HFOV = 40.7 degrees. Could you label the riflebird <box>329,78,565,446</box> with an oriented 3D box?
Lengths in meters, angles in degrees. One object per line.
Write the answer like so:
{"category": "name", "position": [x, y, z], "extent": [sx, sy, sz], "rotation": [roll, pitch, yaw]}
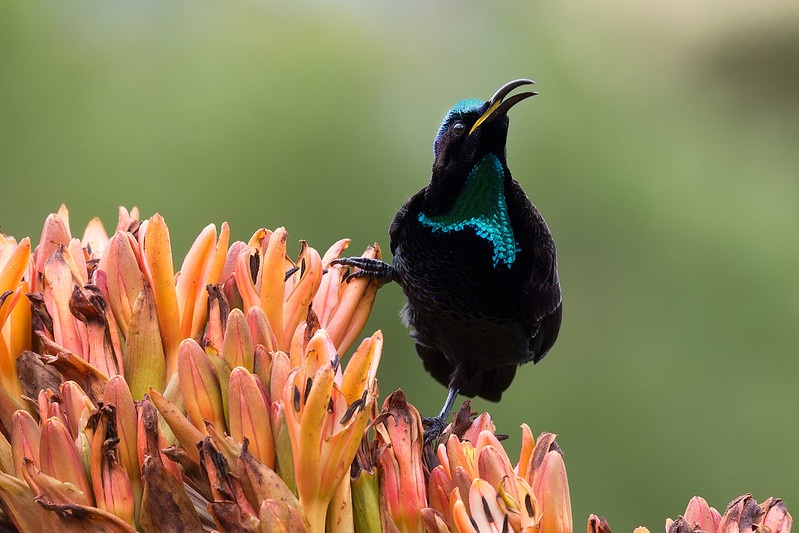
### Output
{"category": "riflebird", "position": [0.093, 0.011, 1.726], "extent": [0.332, 0.487, 0.693], "rotation": [8, -3, 8]}
